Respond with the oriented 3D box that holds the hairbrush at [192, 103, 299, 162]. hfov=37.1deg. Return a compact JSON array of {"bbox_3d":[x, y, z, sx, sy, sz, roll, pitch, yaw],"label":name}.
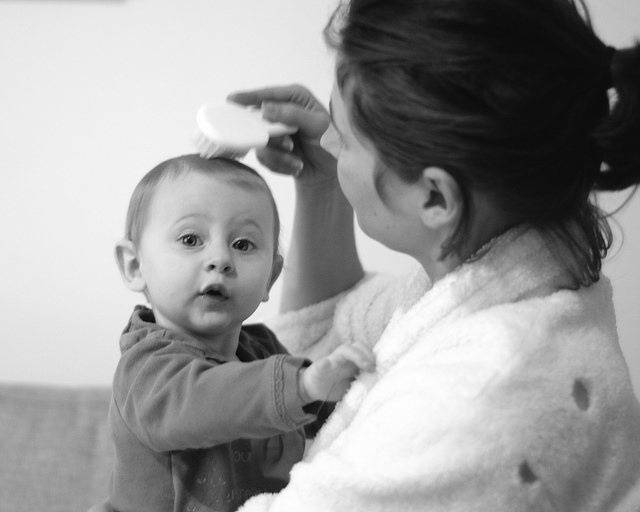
[{"bbox_3d":[-0.159,-0.235,1.853,0.172,0.048,0.085,-6,51,-49],"label":"hairbrush"}]
